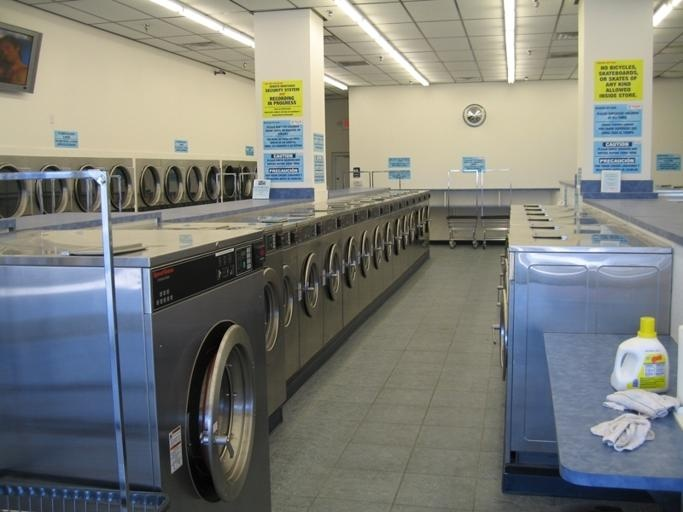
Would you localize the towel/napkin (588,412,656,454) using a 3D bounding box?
[{"bbox_3d":[0.805,0.503,1.450,0.103,0.028,0.089,-10,12,-25],"label":"towel/napkin"}]
